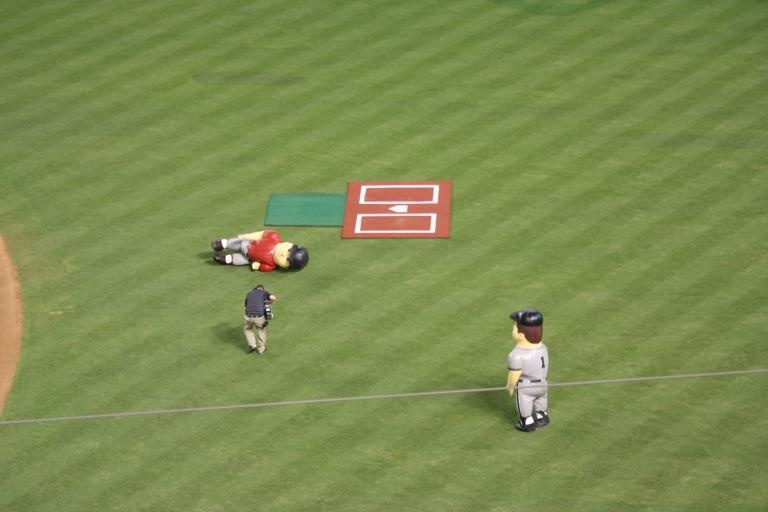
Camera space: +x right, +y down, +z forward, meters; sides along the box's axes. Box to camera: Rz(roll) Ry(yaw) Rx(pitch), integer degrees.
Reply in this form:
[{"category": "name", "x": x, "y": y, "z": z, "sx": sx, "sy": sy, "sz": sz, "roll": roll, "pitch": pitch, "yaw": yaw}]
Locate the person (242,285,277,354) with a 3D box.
[{"category": "person", "x": -3.366, "y": 1.676, "z": 47.239, "sx": 0.896, "sy": 1.539, "sz": 1.320, "roll": -2, "pitch": 50, "yaw": 1}]
